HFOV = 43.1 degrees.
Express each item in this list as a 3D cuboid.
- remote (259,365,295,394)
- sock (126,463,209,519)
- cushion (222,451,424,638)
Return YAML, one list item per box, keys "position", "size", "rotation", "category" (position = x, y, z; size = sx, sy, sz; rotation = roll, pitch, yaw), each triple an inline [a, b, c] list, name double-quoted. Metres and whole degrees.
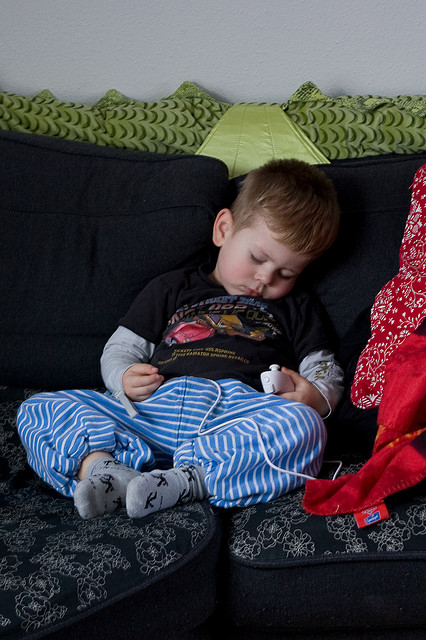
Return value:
- position: [0.113, 0.104, 0.931]
  size: [0.046, 0.039, 0.058]
  rotation: [-6, -19, 16]
  category: "remote"
- position: [-0.058, 0.221, 0.708]
  size: [0.053, 0.031, 0.088]
  rotation: [10, 5, 27]
  category: "sock"
- position: [0.140, 0.299, 0.696]
  size: [0.229, 0.081, 0.205]
  rotation: [-2, 29, 4]
  category: "cushion"
